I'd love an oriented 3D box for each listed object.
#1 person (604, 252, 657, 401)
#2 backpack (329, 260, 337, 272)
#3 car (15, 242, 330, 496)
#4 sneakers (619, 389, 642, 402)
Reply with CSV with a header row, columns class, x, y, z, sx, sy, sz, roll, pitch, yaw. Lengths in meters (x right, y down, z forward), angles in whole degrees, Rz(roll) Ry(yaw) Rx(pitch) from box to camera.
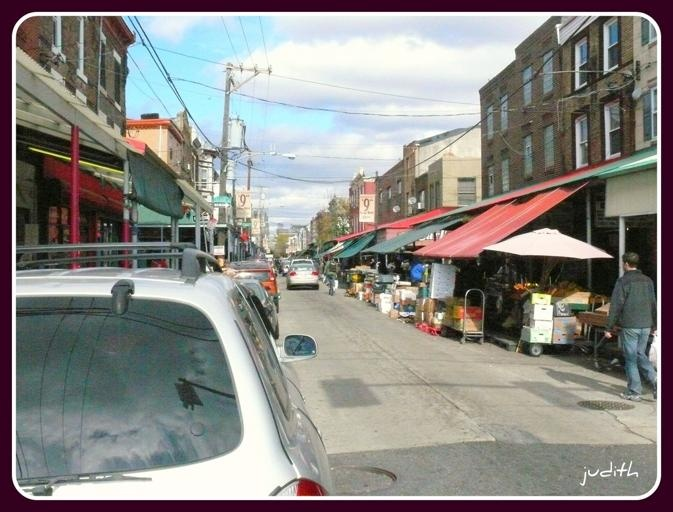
class,x,y,z,sx,sy,sz,roll,pitch,yaw
person,4.257,0.994,9.440,0.551,2.090,0.608,1,0,-24
backpack,-0.177,0.582,33.992,0.425,0.802,0.606,-2,6,-1
car,-0.829,0.547,3.647,1.094,0.910,1.816,0,6,1
sneakers,4.178,1.963,9.225,0.276,0.167,0.391,1,0,25
